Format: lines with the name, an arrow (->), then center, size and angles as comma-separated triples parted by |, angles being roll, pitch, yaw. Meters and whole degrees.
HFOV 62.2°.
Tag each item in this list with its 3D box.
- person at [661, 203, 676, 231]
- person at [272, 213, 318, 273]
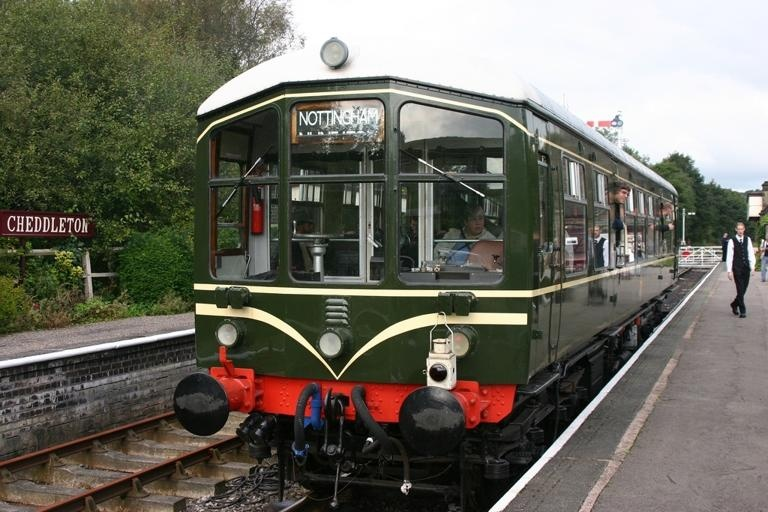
person -> 7.908, -1.075, 17.746 | 0.183, 0.914, 0.478 | 2, -5, -22
person -> -0.968, -0.094, 6.498 | 0.422, 0.901, 0.454 | 0, 1, 5
